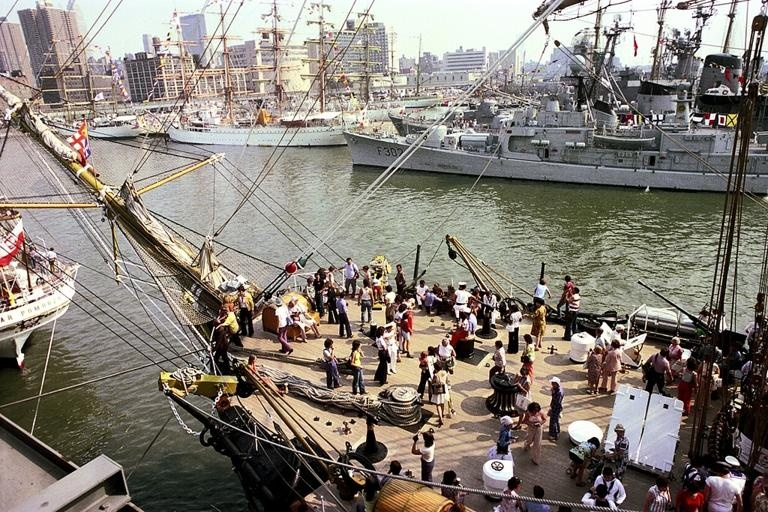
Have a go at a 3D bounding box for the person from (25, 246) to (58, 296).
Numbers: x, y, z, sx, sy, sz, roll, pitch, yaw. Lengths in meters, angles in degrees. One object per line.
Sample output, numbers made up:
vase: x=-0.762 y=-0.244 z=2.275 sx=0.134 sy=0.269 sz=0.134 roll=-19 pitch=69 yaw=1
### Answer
person: x=-19.431 y=0.945 z=33.305 sx=2.948 sy=1.182 sz=0.858 roll=39 pitch=27 yaw=-4

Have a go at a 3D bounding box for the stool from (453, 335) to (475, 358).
stool: x=3.602 y=3.983 z=25.996 sx=0.883 sy=0.810 sz=0.859 roll=-10 pitch=15 yaw=-33

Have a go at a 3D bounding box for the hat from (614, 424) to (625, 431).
hat: x=8.173 y=5.940 z=20.445 sx=0.333 sy=0.127 sz=0.325 roll=2 pitch=-9 yaw=-6

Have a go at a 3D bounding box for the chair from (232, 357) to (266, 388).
chair: x=-4.996 y=4.359 z=21.820 sx=1.033 sy=1.077 sz=1.940 roll=-6 pitch=15 yaw=-22

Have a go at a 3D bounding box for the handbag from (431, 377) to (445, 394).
handbag: x=2.114 y=4.957 z=22.545 sx=0.634 sy=0.887 sz=0.255 roll=3 pitch=37 yaw=16

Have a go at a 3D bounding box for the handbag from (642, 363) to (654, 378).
handbag: x=10.622 y=4.607 z=23.512 sx=0.225 sy=0.576 sz=0.428 roll=12 pitch=4 yaw=-9
